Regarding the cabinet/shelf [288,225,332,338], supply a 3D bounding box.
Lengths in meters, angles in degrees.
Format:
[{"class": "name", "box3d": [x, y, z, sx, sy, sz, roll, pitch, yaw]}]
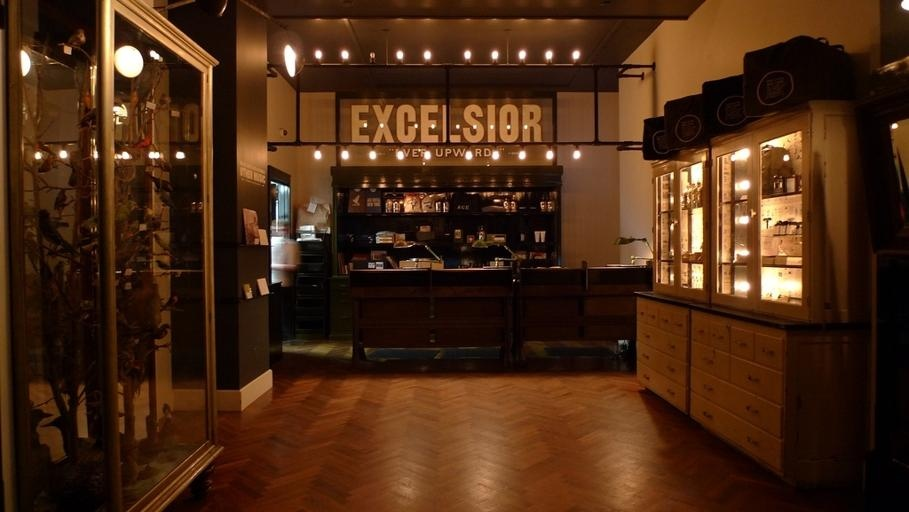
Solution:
[{"class": "cabinet/shelf", "box3d": [-2.162, 0.407, 10.295, 0.575, 1.609, 0.365, -2, 7, -5]}]

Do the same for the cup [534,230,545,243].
[{"class": "cup", "box3d": [1.347, -0.296, 10.939, 0.215, 0.247, 0.153, 1, -11, 4]}]

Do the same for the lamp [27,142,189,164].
[{"class": "lamp", "box3d": [-2.613, -0.793, 5.267, 1.094, 0.113, 0.362, -5, 9, -30]}]

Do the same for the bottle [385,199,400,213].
[{"class": "bottle", "box3d": [-0.973, -0.793, 10.801, 0.262, 0.244, 0.142, 3, -4, -2]}]

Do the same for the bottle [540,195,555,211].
[{"class": "bottle", "box3d": [1.478, -0.832, 10.833, 0.256, 0.228, 0.120, -1, -9, 18]}]

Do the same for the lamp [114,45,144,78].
[{"class": "lamp", "box3d": [-2.447, -1.470, 5.157, 0.069, 0.240, 0.289, 1, 8, 13]}]

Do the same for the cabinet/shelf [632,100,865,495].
[{"class": "cabinet/shelf", "box3d": [2.884, 0.266, 7.111, 0.882, 3.001, 2.957, 3, 1, -11]}]

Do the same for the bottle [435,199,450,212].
[{"class": "bottle", "box3d": [-0.180, -0.792, 10.874, 0.275, 0.251, 0.199, 1, 3, 1]}]
